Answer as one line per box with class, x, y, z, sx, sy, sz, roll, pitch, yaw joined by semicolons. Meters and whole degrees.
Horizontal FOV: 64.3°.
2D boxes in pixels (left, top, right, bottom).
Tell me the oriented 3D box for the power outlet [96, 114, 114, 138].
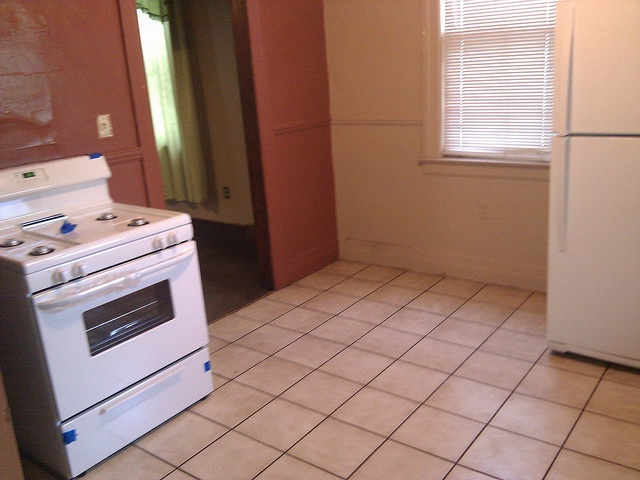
power outlet;-1.182;-0.620;2.766;0.017;0.144;0.113;11;21;33
